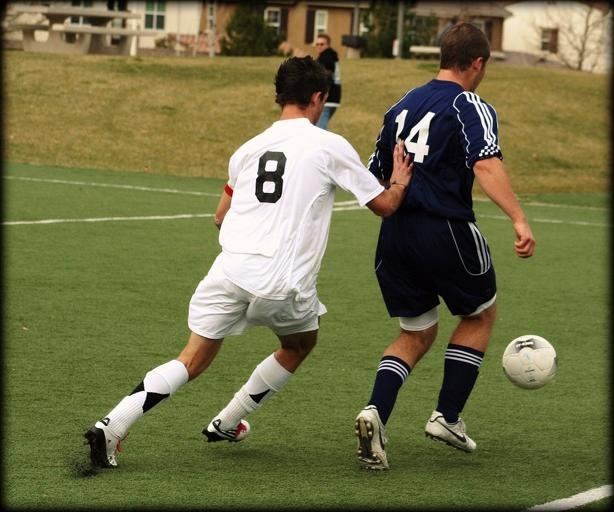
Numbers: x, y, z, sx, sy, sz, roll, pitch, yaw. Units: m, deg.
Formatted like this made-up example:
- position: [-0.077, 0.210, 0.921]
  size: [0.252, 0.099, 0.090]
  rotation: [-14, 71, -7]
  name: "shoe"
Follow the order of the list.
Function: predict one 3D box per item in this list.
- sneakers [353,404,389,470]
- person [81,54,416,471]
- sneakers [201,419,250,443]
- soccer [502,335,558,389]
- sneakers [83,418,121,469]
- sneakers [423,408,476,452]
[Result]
- position: [0.321, 0.865, 4.815]
  size: [0.123, 0.337, 0.178]
  rotation: [-4, 9, 27]
  name: "sneakers"
- position: [-0.222, 0.000, 4.859]
  size: [1.538, 1.947, 0.410]
  rotation: [0, 13, -18]
  name: "person"
- position: [-0.407, 0.887, 4.993]
  size: [0.269, 0.097, 0.148]
  rotation: [-7, -19, -3]
  name: "sneakers"
- position: [1.157, 0.535, 5.293]
  size: [0.273, 0.283, 0.281]
  rotation: [-17, 2, -20]
  name: "soccer"
- position: [-0.956, 0.867, 4.649]
  size: [0.170, 0.246, 0.075]
  rotation: [-1, 13, -22]
  name: "sneakers"
- position: [0.712, 0.875, 5.006]
  size: [0.315, 0.164, 0.126]
  rotation: [31, -6, -18]
  name: "sneakers"
